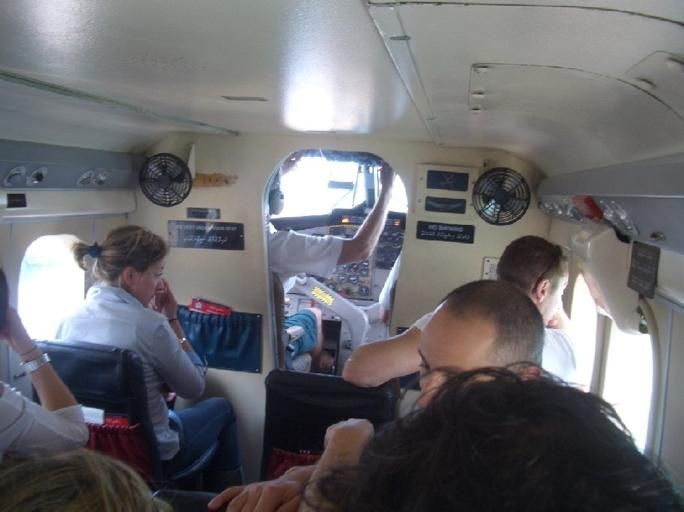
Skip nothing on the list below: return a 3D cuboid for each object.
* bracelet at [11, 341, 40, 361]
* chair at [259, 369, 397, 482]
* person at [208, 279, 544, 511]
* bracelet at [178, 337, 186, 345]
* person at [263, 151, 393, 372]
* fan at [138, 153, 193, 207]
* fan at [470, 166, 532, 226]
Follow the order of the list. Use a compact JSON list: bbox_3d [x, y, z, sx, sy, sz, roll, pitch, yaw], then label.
[{"bbox_3d":[-1.391,0.411,2.416,0.094,0.077,0.081,-10,2,10],"label":"bracelet"},{"bbox_3d":[-0.051,0.821,2.755,0.473,0.666,0.593,4,2,-4],"label":"chair"},{"bbox_3d":[0.151,0.512,2.133,0.986,1.263,0.606,8,-11,-1],"label":"person"},{"bbox_3d":[-1.002,0.531,3.435,0.046,0.045,0.081,4,0,-11],"label":"bracelet"},{"bbox_3d":[-0.096,0.102,4.425,1.353,1.951,0.458,5,2,-4],"label":"person"},{"bbox_3d":[-1.137,-0.511,3.472,0.340,0.096,0.354,-14,-44,5],"label":"fan"},{"bbox_3d":[0.973,-0.361,3.301,0.345,0.353,0.169,6,1,16],"label":"fan"}]
